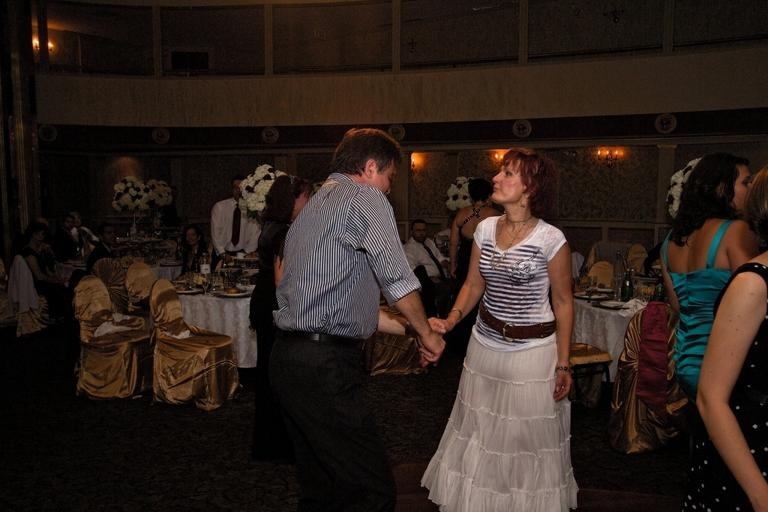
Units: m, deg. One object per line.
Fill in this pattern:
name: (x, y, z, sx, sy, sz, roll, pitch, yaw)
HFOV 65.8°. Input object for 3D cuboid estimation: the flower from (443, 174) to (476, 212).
flower: (1.130, -0.916, 9.002, 0.578, 0.595, 0.220, 15, -15, 4)

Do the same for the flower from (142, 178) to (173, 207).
flower: (-3.609, -0.952, 9.439, 0.416, 0.119, 0.419, -5, 47, -35)

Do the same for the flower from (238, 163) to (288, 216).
flower: (-1.287, -0.805, 6.379, 0.615, 0.654, 0.217, -2, -11, 22)

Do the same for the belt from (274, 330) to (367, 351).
belt: (-0.320, 0.402, 2.885, 0.428, 0.106, 0.139, 0, 9, 3)
